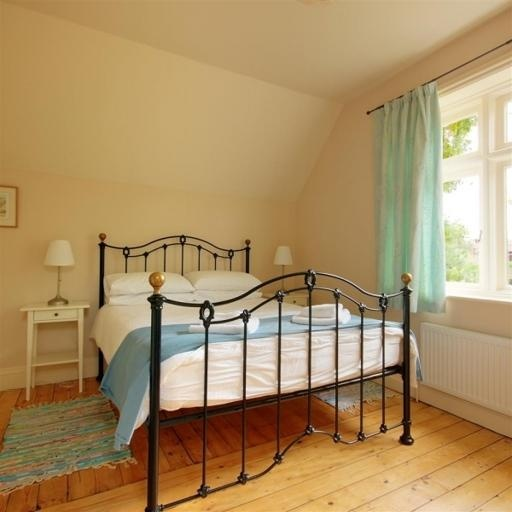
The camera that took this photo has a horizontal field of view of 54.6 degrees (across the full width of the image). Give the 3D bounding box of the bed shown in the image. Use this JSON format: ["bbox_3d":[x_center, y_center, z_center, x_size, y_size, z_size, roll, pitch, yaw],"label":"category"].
[{"bbox_3d":[-0.260,0.515,3.373,1.747,1.110,1.790,0,-3,-20],"label":"bed"}]

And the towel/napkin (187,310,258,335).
[{"bbox_3d":[-0.164,0.354,2.737,0.358,0.113,0.468,-1,1,11],"label":"towel/napkin"}]

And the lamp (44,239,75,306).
[{"bbox_3d":[-1.520,0.121,3.850,0.200,0.492,0.360,-2,1,-20],"label":"lamp"}]
